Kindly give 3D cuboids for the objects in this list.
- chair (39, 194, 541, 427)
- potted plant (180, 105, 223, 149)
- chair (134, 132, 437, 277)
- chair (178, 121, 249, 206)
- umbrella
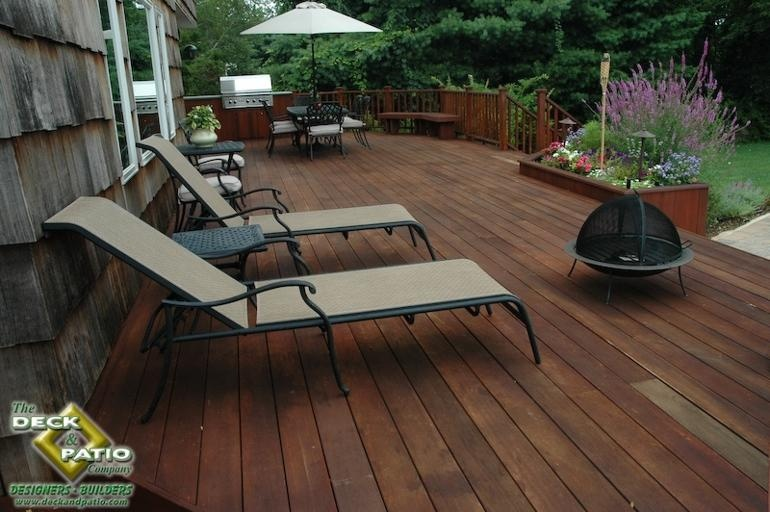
[{"bbox_3d":[-0.361,0.223,3.312,2.874,1.090,1.252,-4,21,-11],"label":"chair"},{"bbox_3d":[-2.285,-1.618,6.172,0.434,0.410,0.418,-7,10,-1],"label":"potted plant"},{"bbox_3d":[-0.775,-0.515,4.642,3.091,1.264,1.108,-3,22,-10],"label":"chair"},{"bbox_3d":[-2.209,-1.159,6.384,0.854,1.044,0.997,-11,14,-22],"label":"chair"},{"bbox_3d":[-1.466,-4.767,11.068,2.999,1.917,2.748,-1,26,-1],"label":"umbrella"}]
